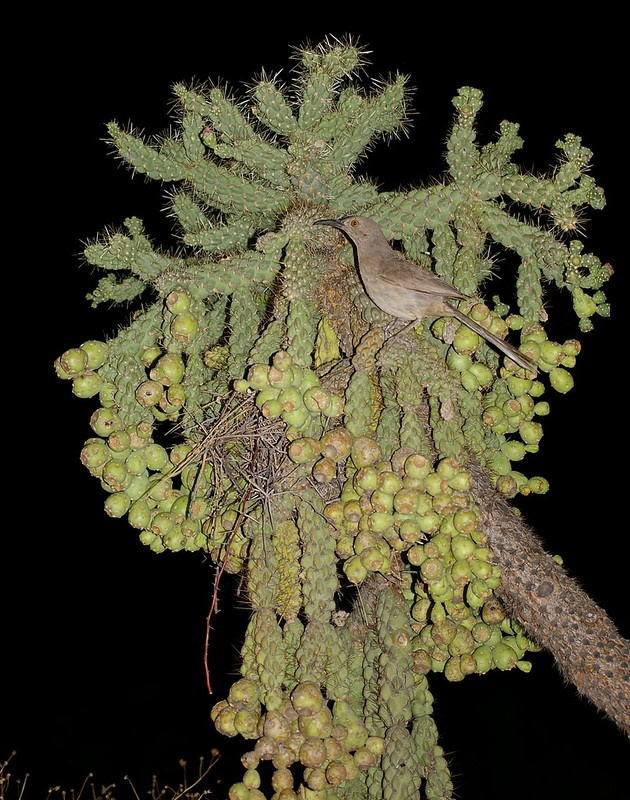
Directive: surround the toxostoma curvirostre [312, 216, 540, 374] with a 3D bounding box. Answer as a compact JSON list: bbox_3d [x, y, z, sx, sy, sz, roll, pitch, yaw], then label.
[{"bbox_3d":[0.343,-0.366,3.643,0.754,0.167,0.359,7,-79,-18],"label":"toxostoma curvirostre"}]
